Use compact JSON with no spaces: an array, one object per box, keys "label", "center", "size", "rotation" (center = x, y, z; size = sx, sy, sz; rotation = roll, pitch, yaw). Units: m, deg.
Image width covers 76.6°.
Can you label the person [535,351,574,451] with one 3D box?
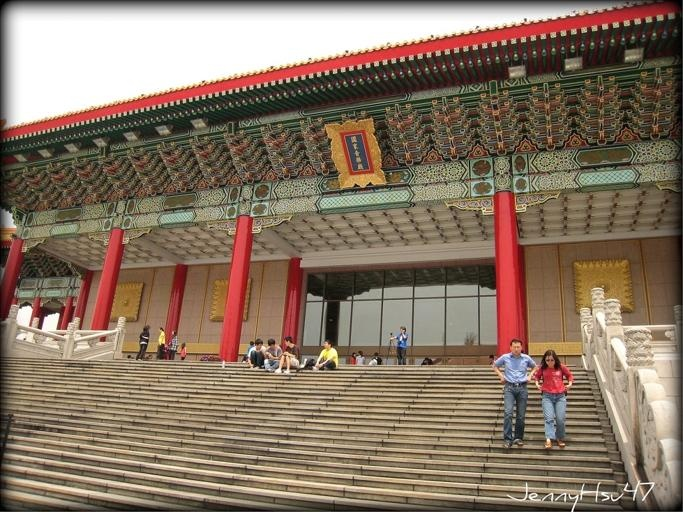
[{"label":"person","center":[2.981,2.007,6.060],"size":[0.451,1.311,0.472],"rotation":[-10,-25,33]}]

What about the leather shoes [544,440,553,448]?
[{"label":"leather shoes","center":[2.825,2.573,5.905],"size":[0.098,0.125,0.238],"rotation":[-6,-20,25]}]

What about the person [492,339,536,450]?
[{"label":"person","center":[2.503,1.967,6.194],"size":[0.567,1.486,0.472],"rotation":[-2,-21,16]}]

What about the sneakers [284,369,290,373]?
[{"label":"sneakers","center":[-1.291,2.796,10.402],"size":[0.131,0.118,0.269],"rotation":[6,-18,-7]}]

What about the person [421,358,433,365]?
[{"label":"person","center":[3.266,4.007,16.470],"size":[0.452,0.316,0.950],"rotation":[0,-18,10]}]

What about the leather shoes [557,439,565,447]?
[{"label":"leather shoes","center":[2.980,2.561,5.883],"size":[0.059,0.046,0.146],"rotation":[-1,-2,9]}]

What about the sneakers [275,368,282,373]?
[{"label":"sneakers","center":[-1.537,2.810,10.484],"size":[0.136,0.134,0.251],"rotation":[7,-19,-10]}]
